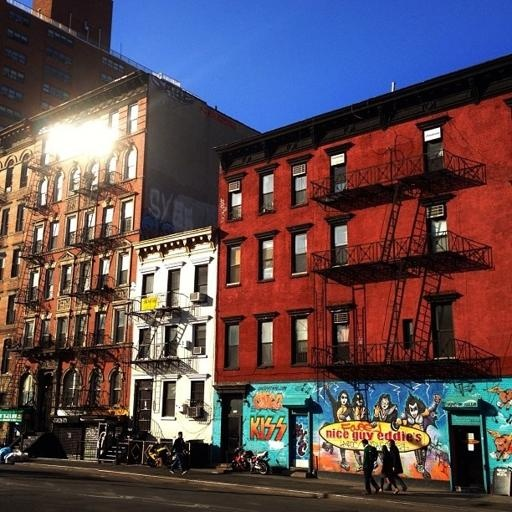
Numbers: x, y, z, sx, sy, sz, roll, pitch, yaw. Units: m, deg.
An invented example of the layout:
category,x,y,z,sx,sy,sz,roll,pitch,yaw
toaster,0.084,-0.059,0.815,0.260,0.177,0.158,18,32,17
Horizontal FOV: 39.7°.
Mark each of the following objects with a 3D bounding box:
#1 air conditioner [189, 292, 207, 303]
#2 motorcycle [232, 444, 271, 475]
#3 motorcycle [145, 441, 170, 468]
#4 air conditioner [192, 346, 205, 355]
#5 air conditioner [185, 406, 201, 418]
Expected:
category,x,y,z,sx,sy,sz,roll,pitch,yaw
air conditioner,-3.154,2.372,39.756,0.628,0.424,0.673,-6,-20,25
motorcycle,-0.300,9.948,34.423,1.996,1.140,0.861,-6,-24,27
motorcycle,-5.098,10.268,36.579,1.600,1.052,0.818,-12,-27,38
air conditioner,-3.184,5.218,39.060,0.676,0.396,0.437,2,-3,35
air conditioner,-3.368,8.384,38.122,0.924,0.669,0.563,-6,-12,29
